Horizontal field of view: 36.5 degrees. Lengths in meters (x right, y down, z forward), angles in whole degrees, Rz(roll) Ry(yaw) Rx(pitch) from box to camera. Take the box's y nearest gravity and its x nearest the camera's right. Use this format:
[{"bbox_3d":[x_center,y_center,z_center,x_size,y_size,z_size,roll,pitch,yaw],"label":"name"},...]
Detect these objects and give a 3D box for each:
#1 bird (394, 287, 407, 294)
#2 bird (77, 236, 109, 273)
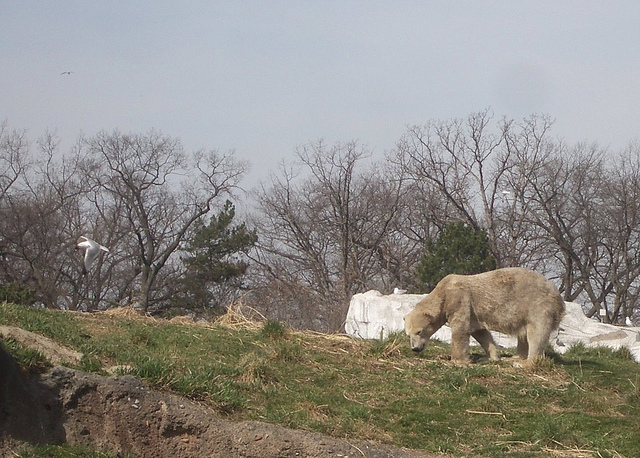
[{"bbox_3d":[3.537,2.753,42.674,0.407,0.313,0.252,-5,-27,8],"label":"bird"},{"bbox_3d":[-7.942,0.918,33.528,0.685,1.278,2.976,0,3,-14],"label":"bird"}]
